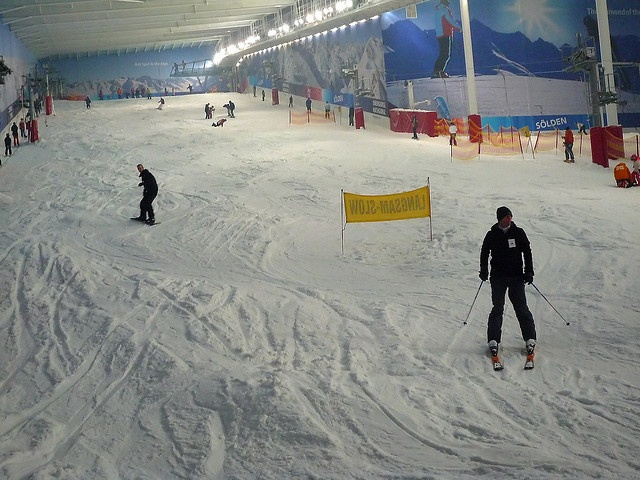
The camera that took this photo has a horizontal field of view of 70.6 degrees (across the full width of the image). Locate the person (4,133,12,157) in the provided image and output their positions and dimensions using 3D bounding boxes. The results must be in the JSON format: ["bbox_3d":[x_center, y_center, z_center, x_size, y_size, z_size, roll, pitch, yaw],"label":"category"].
[{"bbox_3d":[-16.279,-4.974,23.627,0.332,1.137,2.114,-10,17,-32],"label":"person"}]

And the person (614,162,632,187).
[{"bbox_3d":[10.090,-2.157,15.098,0.511,0.828,0.255,-3,-11,32],"label":"person"}]

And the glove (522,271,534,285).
[{"bbox_3d":[2.981,0.520,6.506,0.163,0.203,0.187,-3,5,-14],"label":"glove"}]

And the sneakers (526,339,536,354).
[{"bbox_3d":[3.006,1.528,6.488,0.156,0.206,0.191,-1,-6,4],"label":"sneakers"}]

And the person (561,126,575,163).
[{"bbox_3d":[10.828,-4.152,19.657,0.520,1.440,1.268,6,16,28],"label":"person"}]

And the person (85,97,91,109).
[{"bbox_3d":[-21.621,-12.822,42.285,0.367,1.232,1.558,-9,16,-30],"label":"person"}]

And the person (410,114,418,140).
[{"bbox_3d":[5.942,-7.016,28.140,0.310,1.456,0.870,1,14,9],"label":"person"}]

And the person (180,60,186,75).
[{"bbox_3d":[-20.608,-26.243,68.928,0.594,1.939,1.159,-5,14,-16],"label":"person"}]

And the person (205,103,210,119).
[{"bbox_3d":[-8.721,-10.083,35.439,0.422,1.146,1.167,-5,15,-14],"label":"person"}]

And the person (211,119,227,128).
[{"bbox_3d":[-7.087,-8.216,31.891,0.647,0.528,1.514,2,15,12],"label":"person"}]

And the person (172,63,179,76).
[{"bbox_3d":[-22.042,-26.065,69.237,1.216,1.835,1.060,2,14,12],"label":"person"}]

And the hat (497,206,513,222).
[{"bbox_3d":[2.708,-0.367,6.658,0.171,0.284,0.520,4,16,22],"label":"hat"}]

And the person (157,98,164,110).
[{"bbox_3d":[-15.042,-12.983,42.978,0.435,1.186,3.364,-5,15,-15],"label":"person"}]
